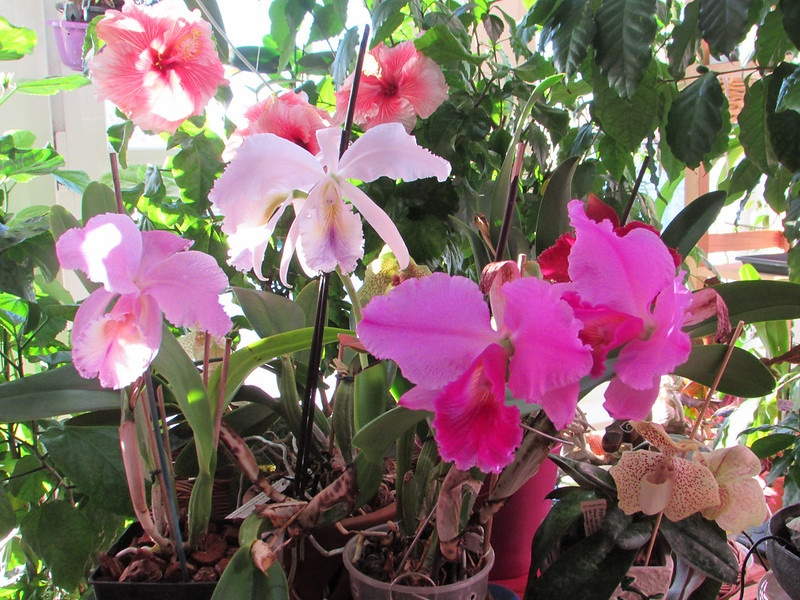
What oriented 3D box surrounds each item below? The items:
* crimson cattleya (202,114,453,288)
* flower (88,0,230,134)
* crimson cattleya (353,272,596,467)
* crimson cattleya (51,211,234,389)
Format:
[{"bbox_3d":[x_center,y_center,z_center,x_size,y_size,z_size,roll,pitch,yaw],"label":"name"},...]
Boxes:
[{"bbox_3d":[-0.082,-0.171,0.696,0.298,0.160,0.230,-7,-48,-7],"label":"crimson cattleya"},{"bbox_3d":[-0.347,-0.356,0.892,0.174,0.198,0.084,-9,6,-17],"label":"flower"},{"bbox_3d":[0.068,0.068,0.575,0.201,0.258,0.093,1,-2,11],"label":"crimson cattleya"},{"bbox_3d":[-0.267,0.000,0.629,0.169,0.179,0.051,-1,-3,2],"label":"crimson cattleya"}]
